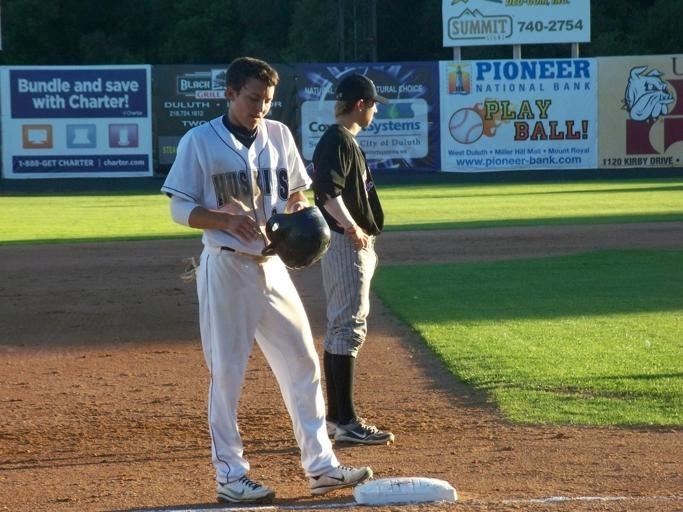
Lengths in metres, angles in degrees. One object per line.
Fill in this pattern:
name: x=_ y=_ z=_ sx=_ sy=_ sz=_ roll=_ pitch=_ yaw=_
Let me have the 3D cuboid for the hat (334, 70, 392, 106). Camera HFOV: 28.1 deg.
hat: x=0.270 y=-2.110 z=17.396 sx=0.660 sy=0.343 sz=0.422 roll=-4 pitch=21 yaw=-3

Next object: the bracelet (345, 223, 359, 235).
bracelet: x=0.138 y=-0.330 z=17.129 sx=0.106 sy=0.101 sz=0.133 roll=-22 pitch=-26 yaw=-35
